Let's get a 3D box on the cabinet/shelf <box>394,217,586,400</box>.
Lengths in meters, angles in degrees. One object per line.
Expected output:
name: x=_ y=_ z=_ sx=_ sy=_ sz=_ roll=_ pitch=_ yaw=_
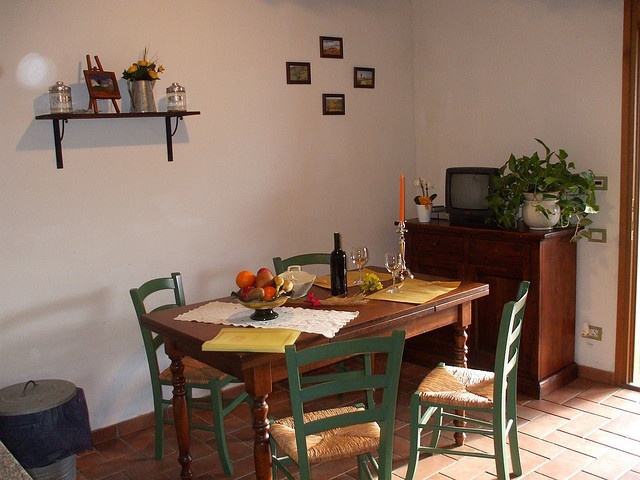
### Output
cabinet/shelf: x=1.365 y=0.485 z=4.184 sx=0.725 sy=1.221 sz=1.282 roll=-8 pitch=10 yaw=-42

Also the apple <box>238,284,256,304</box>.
apple: x=-0.357 y=0.270 z=2.548 sx=0.075 sy=0.093 sz=0.078 roll=12 pitch=2 yaw=5

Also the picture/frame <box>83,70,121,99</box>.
picture/frame: x=-1.422 y=-1.005 z=3.268 sx=0.204 sy=0.189 sz=0.020 roll=-6 pitch=-6 yaw=-43

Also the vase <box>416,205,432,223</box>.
vase: x=0.880 y=-0.214 z=4.290 sx=0.130 sy=0.150 sz=0.133 roll=-5 pitch=6 yaw=-39

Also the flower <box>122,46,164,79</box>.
flower: x=-1.176 y=-1.174 z=3.360 sx=0.271 sy=0.238 sz=0.273 roll=-5 pitch=11 yaw=-17

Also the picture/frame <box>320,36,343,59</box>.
picture/frame: x=0.089 y=-1.626 z=4.248 sx=0.208 sy=0.151 sz=0.010 roll=-8 pitch=11 yaw=-37

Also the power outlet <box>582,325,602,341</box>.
power outlet: x=2.096 y=0.720 z=3.887 sx=0.029 sy=0.094 sz=0.122 roll=-6 pitch=7 yaw=-43

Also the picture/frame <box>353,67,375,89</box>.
picture/frame: x=0.381 y=-1.434 z=4.448 sx=0.207 sy=0.171 sz=0.016 roll=-3 pitch=6 yaw=-36

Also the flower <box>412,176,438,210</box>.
flower: x=0.915 y=-0.371 z=4.295 sx=0.150 sy=0.234 sz=0.153 roll=5 pitch=3 yaw=11

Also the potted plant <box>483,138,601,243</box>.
potted plant: x=1.750 y=-0.336 z=3.898 sx=0.774 sy=0.686 sz=0.744 roll=-5 pitch=6 yaw=-41

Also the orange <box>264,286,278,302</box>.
orange: x=-0.251 y=0.275 z=2.551 sx=0.073 sy=0.071 sz=0.045 roll=-4 pitch=11 yaw=-9

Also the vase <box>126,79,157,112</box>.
vase: x=-1.195 y=-0.965 z=3.385 sx=0.163 sy=0.215 sz=0.239 roll=8 pitch=19 yaw=16

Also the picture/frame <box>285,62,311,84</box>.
picture/frame: x=-0.185 y=-1.357 z=4.091 sx=0.196 sy=0.148 sz=0.014 roll=-8 pitch=11 yaw=-38

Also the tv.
tv: x=1.169 y=-0.317 z=4.130 sx=0.402 sy=0.467 sz=0.249 roll=2 pitch=-5 yaw=-7

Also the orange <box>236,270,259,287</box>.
orange: x=-0.384 y=0.205 z=2.626 sx=0.100 sy=0.089 sz=0.164 roll=-5 pitch=11 yaw=-17

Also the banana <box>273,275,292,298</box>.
banana: x=-0.188 y=0.243 z=2.622 sx=0.099 sy=0.102 sz=0.042 roll=-15 pitch=2 yaw=-43

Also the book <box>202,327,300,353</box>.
book: x=-0.299 y=0.467 z=2.352 sx=0.235 sy=0.036 sz=0.165 roll=2 pitch=8 yaw=17
